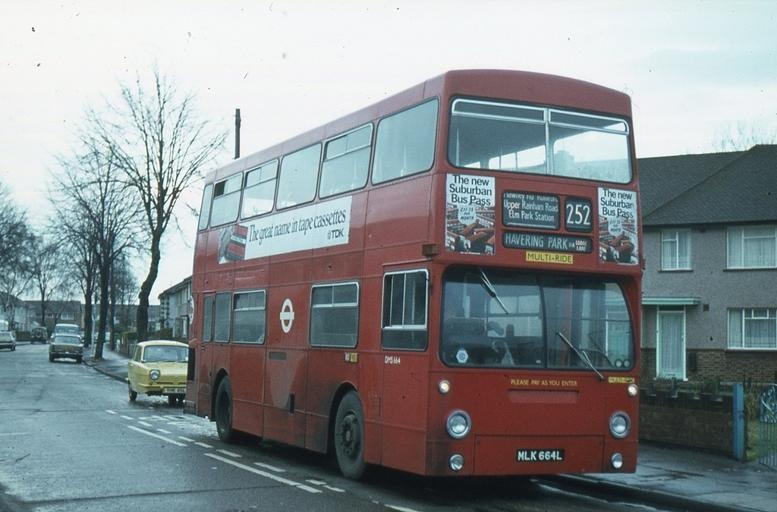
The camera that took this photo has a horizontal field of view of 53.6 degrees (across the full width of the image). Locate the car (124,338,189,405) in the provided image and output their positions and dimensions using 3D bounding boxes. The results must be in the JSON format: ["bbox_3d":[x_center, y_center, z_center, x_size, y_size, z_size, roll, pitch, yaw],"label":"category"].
[{"bbox_3d":[-8.467,4.283,28.581,2.193,2.006,4.216,3,-5,-22],"label":"car"}]

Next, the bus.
[{"bbox_3d":[0.849,0.711,14.139,2.695,4.149,7.623,3,-4,-31],"label":"bus"}]
